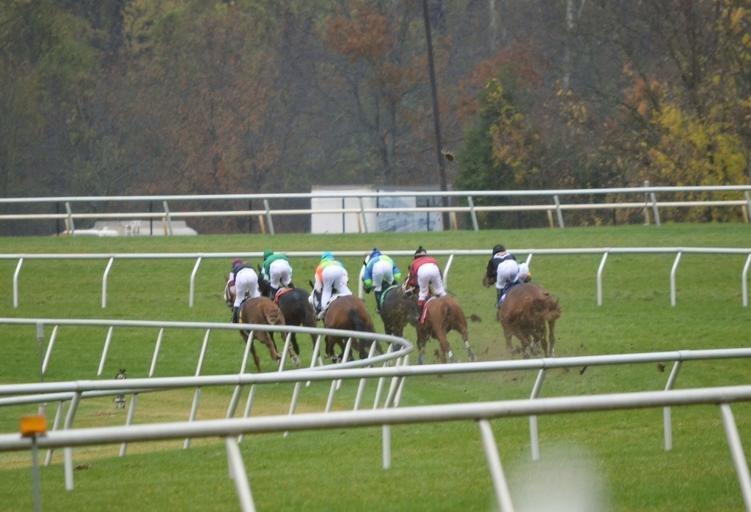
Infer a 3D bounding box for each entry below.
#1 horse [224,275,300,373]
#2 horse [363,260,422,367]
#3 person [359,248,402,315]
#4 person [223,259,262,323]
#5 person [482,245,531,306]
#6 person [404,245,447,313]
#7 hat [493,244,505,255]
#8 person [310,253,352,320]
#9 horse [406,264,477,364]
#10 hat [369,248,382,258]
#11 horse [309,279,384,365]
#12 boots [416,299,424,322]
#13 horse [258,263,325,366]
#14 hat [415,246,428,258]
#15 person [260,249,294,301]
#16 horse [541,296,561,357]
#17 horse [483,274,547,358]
[{"bbox_3d":[-1.926,1.127,23.494,0.940,1.546,2.093,-2,-2,-12],"label":"horse"},{"bbox_3d":[0.226,0.643,23.783,0.509,1.050,1.988,-13,41,-6],"label":"horse"},{"bbox_3d":[0.099,0.395,23.716,0.517,0.548,1.127,-3,29,-3],"label":"person"},{"bbox_3d":[-2.181,0.664,24.336,0.447,0.917,1.683,0,-7,-5],"label":"person"},{"bbox_3d":[2.186,0.230,23.881,0.789,0.844,1.427,-3,7,9],"label":"person"},{"bbox_3d":[0.784,0.307,23.671,0.591,0.705,1.047,-2,35,-7],"label":"person"},{"bbox_3d":[2.080,-0.114,23.624,0.149,0.177,0.189,4,13,-27],"label":"hat"},{"bbox_3d":[-0.843,0.572,24.189,0.456,0.990,1.674,0,-13,-19],"label":"person"},{"bbox_3d":[0.980,1.142,23.806,0.550,1.456,2.157,-8,-4,-18],"label":"horse"},{"bbox_3d":[-0.005,-0.119,23.892,0.233,0.219,0.126,-1,-26,3],"label":"hat"},{"bbox_3d":[-0.440,1.144,23.326,0.884,1.201,1.284,-1,-2,-15],"label":"horse"},{"bbox_3d":[0.729,0.894,23.283,0.087,0.364,0.199,3,-13,-3],"label":"boots"},{"bbox_3d":[-1.538,0.992,24.601,0.614,1.627,2.324,-11,10,-24],"label":"horse"},{"bbox_3d":[0.760,-0.084,23.829,0.153,0.169,0.214,1,-16,-9],"label":"hat"},{"bbox_3d":[-1.726,0.324,24.654,0.419,0.833,1.583,-8,9,-16],"label":"person"},{"bbox_3d":[2.875,1.112,23.018,0.266,1.028,0.579,-2,-2,7],"label":"horse"},{"bbox_3d":[2.489,1.043,23.041,1.017,1.206,0.507,-2,-2,8],"label":"horse"}]
